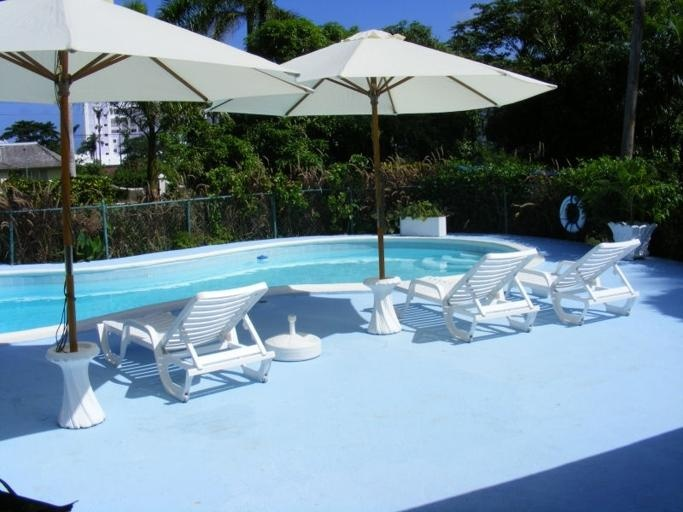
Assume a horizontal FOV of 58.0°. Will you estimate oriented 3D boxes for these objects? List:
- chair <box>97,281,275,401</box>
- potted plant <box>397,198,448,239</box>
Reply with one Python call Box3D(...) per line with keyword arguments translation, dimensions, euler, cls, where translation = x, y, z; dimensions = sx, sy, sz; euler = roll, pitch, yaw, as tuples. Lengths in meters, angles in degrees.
Box3D(translation=(-1.688, 0.730, 6.593), dimensions=(0.973, 1.128, 1.762), euler=(-7, 18, -41), cls="chair")
Box3D(translation=(2.393, -0.987, 17.569), dimensions=(1.276, 1.219, 0.893), euler=(1, 3, 29), cls="potted plant")
